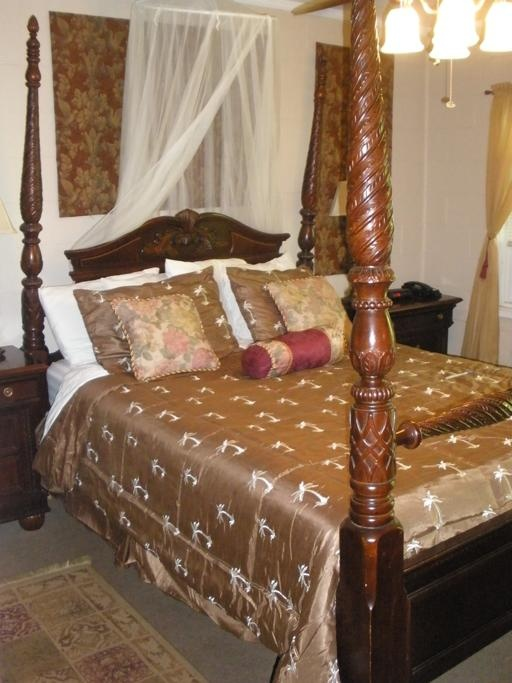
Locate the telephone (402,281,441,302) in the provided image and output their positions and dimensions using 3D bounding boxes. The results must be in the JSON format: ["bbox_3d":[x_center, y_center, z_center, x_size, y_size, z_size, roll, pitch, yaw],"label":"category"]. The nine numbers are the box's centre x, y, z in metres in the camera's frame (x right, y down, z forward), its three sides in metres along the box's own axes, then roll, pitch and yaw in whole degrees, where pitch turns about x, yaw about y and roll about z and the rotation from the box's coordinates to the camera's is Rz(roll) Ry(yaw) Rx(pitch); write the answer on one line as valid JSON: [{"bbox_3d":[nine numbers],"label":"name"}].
[{"bbox_3d":[1.147,-0.353,4.197,0.164,0.094,0.261,-12,20,-38],"label":"telephone"}]

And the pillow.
[{"bbox_3d":[-0.332,-0.107,2.796,1.005,0.346,0.138,-16,-11,-42],"label":"pillow"}]

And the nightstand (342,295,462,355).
[{"bbox_3d":[1.019,0.001,4.215,0.672,0.617,0.456,-9,19,-22],"label":"nightstand"}]
